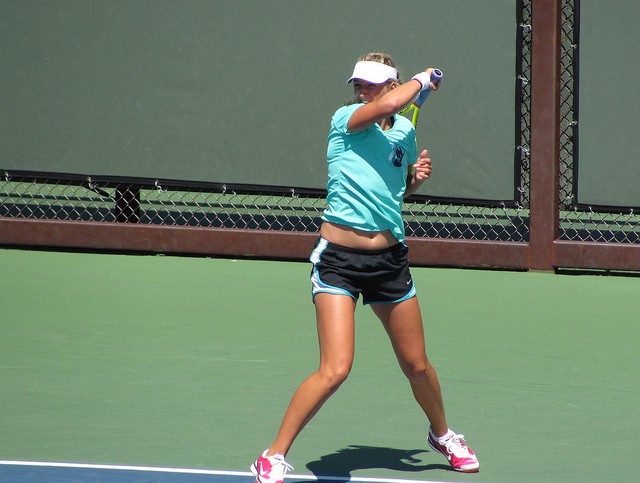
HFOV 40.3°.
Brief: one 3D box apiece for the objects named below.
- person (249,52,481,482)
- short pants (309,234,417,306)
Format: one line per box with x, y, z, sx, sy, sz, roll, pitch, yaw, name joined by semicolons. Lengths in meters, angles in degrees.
0.245;0.145;4.428;1.108;1.806;0.421;1;0;-33;person
0.372;0.166;4.536;0.230;0.294;0.468;-11;-1;-43;short pants
